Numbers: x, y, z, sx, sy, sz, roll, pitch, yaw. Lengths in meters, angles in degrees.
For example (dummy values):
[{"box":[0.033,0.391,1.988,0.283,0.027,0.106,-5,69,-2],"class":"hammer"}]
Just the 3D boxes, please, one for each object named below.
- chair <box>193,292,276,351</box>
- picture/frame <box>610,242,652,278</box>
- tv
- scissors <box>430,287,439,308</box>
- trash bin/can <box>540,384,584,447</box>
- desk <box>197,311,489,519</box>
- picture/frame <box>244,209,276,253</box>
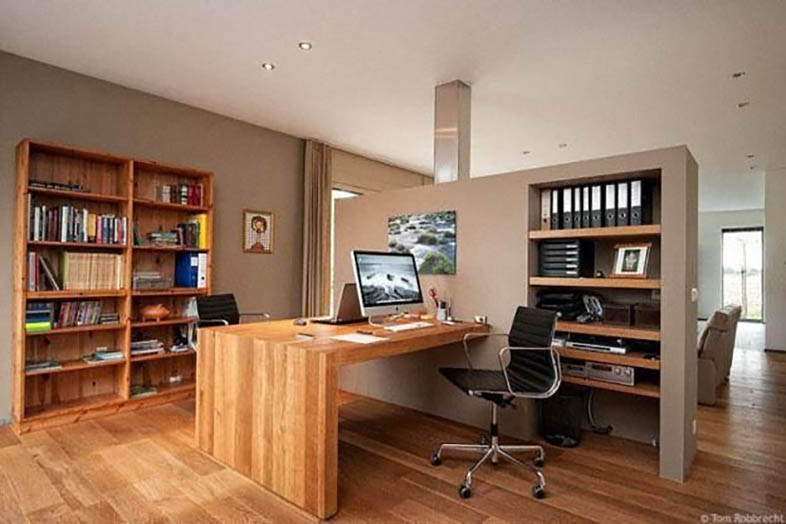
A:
[{"box":[-1.844,0.852,6.009,0.661,0.870,0.756,7,6,29],"class":"chair"},{"box":[2.372,-0.021,5.114,0.370,0.416,0.036,5,-12,43],"class":"picture/frame"},{"box":[-0.055,0.291,5.346,0.798,0.633,0.235,5,-13,-41],"class":"tv"},{"box":[0.483,0.390,5.880,0.079,0.199,0.020,-10,-7,-11],"class":"scissors"},{"box":[1.736,1.536,5.341,0.568,0.532,0.521,0,0,16],"class":"trash bin/can"},{"box":[-0.846,1.231,4.827,1.565,0.929,2.238,1,0,43],"class":"desk"},{"box":[-1.889,-0.444,7.246,0.063,0.770,0.680,1,0,38],"class":"picture/frame"}]
